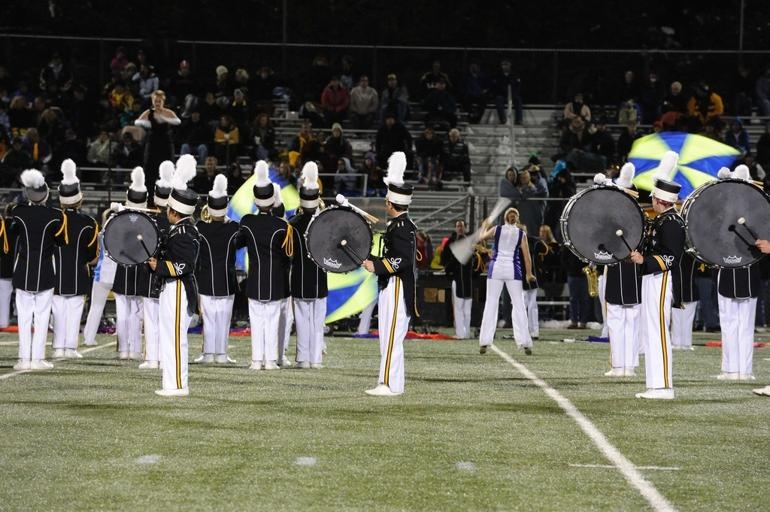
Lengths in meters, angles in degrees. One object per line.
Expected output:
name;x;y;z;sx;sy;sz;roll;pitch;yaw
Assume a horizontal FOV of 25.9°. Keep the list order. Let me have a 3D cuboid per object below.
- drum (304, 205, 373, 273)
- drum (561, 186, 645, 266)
drum;-0.775;-0.283;27.331;0.858;1.164;1.131;-2;0;6
drum;3.516;-0.500;27.262;1.216;1.309;2.166;0;1;2
